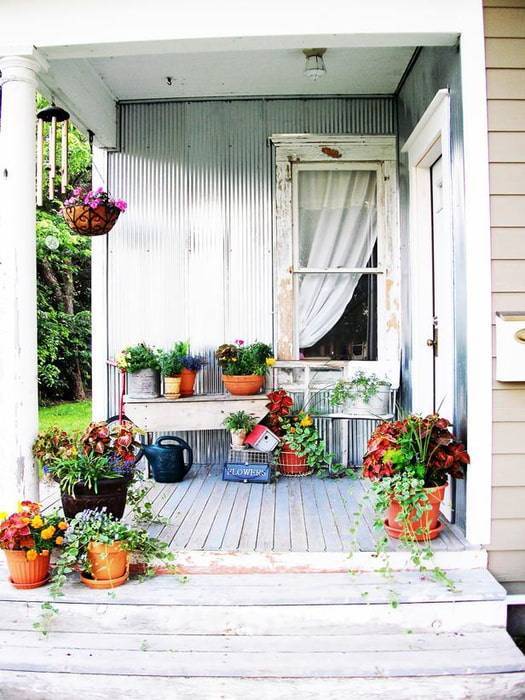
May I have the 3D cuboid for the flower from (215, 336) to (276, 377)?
[{"bbox_3d":[-0.125,0.066,4.292,0.275,0.204,0.262,1,0,-13],"label":"flower"}]

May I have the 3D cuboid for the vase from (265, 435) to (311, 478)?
[{"bbox_3d":[0.169,0.693,4.205,0.226,0.183,0.222,-6,-7,42],"label":"vase"}]

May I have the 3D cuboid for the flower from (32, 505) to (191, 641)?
[{"bbox_3d":[-0.656,0.860,2.712,0.472,0.328,0.429,0,-5,7],"label":"flower"}]

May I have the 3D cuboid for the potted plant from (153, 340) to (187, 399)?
[{"bbox_3d":[-0.589,0.131,4.248,0.274,0.468,0.297,1,-7,-13],"label":"potted plant"}]

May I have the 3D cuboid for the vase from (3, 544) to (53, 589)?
[{"bbox_3d":[-0.965,0.897,2.692,0.170,0.140,0.177,-2,-4,28],"label":"vase"}]

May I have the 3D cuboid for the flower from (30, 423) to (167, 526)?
[{"bbox_3d":[-0.791,0.564,3.088,0.461,0.446,0.466,0,-4,43],"label":"flower"}]

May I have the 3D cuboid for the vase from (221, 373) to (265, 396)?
[{"bbox_3d":[-0.140,0.232,4.271,0.171,0.096,0.171,-1,-1,37],"label":"vase"}]

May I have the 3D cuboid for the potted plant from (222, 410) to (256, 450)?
[{"bbox_3d":[-0.127,0.513,4.195,0.206,0.231,0.219,3,-2,12],"label":"potted plant"}]

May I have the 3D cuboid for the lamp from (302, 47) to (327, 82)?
[{"bbox_3d":[0.312,-1.716,3.891,0.119,0.138,0.124,0,11,3],"label":"lamp"}]

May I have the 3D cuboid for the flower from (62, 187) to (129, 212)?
[{"bbox_3d":[-0.946,-0.860,3.851,0.253,0.144,0.388,10,10,13],"label":"flower"}]

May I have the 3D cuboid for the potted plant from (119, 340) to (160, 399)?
[{"bbox_3d":[-0.810,0.144,4.270,0.269,0.341,0.197,2,5,4],"label":"potted plant"}]

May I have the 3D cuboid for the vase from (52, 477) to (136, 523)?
[{"bbox_3d":[-0.765,0.659,2.971,0.224,0.174,0.226,2,-3,-35],"label":"vase"}]

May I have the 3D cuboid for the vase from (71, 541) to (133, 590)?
[{"bbox_3d":[-0.650,0.897,2.693,0.182,0.164,0.192,0,-5,-9],"label":"vase"}]

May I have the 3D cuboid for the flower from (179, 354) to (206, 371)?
[{"bbox_3d":[-0.477,0.083,4.363,0.105,0.079,0.110,0,1,23],"label":"flower"}]

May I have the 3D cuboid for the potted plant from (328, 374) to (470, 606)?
[{"bbox_3d":[0.575,0.656,2.977,0.615,0.851,0.600,0,-1,10],"label":"potted plant"}]

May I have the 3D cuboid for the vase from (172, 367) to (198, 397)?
[{"bbox_3d":[-0.514,0.218,4.313,0.149,0.180,0.162,1,2,3],"label":"vase"}]
